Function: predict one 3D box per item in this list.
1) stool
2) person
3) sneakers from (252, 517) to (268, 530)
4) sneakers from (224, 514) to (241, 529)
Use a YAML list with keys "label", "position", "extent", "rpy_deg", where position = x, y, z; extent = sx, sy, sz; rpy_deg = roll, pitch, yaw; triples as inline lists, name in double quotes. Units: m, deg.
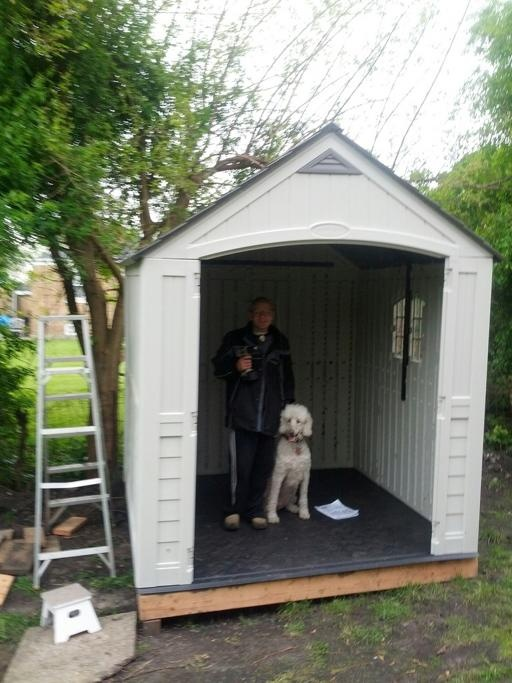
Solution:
- label: "stool"
  position: [-1.286, 1.827, 4.774]
  extent: [0.326, 0.255, 0.441]
  rpy_deg: [-8, 17, -32]
- label: "person"
  position: [0.013, 0.609, 6.266]
  extent: [0.640, 2.017, 0.499]
  rpy_deg: [-12, 19, -40]
- label: "sneakers"
  position: [0.036, 1.572, 6.065]
  extent: [0.136, 0.090, 0.100]
  rpy_deg: [0, 14, -2]
- label: "sneakers"
  position: [-0.197, 1.549, 6.037]
  extent: [0.103, 0.113, 0.132]
  rpy_deg: [6, -20, -5]
